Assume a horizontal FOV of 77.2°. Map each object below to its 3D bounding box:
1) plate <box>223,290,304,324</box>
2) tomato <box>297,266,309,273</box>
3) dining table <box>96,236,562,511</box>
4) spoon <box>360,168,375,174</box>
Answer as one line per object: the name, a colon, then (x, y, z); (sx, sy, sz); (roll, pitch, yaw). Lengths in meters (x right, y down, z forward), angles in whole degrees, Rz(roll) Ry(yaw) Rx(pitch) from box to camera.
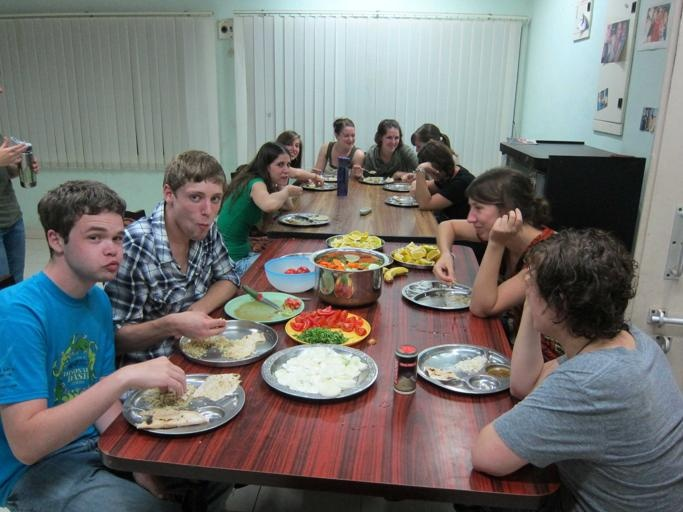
plate: (-0.367, 0.250, 1.970); (0.183, 0.025, 0.189); (7, 25, 12)
tomato: (-0.206, 0.072, 2.279); (0.036, 0.037, 0.035); (2, 3, 1)
dining table: (-0.078, 0.416, 1.532); (0.870, 0.316, 1.354); (2, 25, 4)
spoon: (0.353, -1.073, 5.384); (0.060, 0.048, 0.337); (-1, 9, -36)
